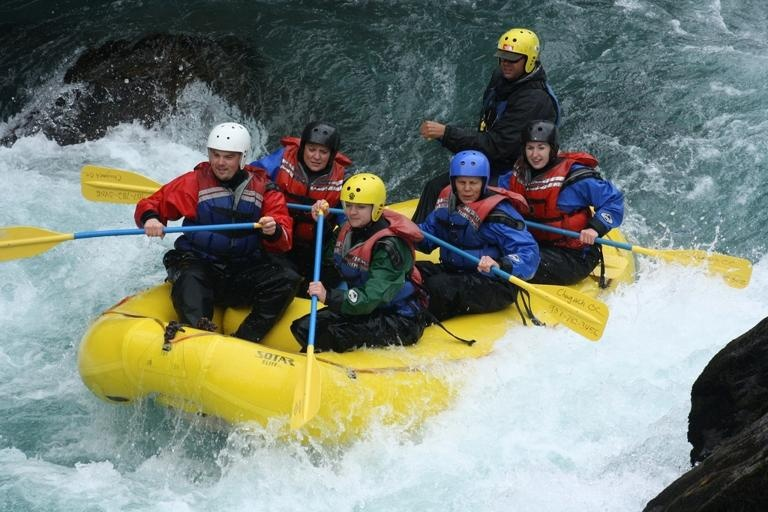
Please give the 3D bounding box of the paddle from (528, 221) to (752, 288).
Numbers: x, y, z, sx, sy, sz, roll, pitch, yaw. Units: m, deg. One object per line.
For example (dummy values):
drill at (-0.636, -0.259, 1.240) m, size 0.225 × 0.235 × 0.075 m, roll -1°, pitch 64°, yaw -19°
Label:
paddle at (2.635, 0.013, 8.536) m, size 1.996 × 0.336 × 0.071 m, roll 19°, pitch -1°, yaw 7°

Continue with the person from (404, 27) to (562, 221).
person at (1.065, -1.385, 9.130) m, size 1.558 × 2.417 × 1.099 m, roll -13°, pitch 48°, yaw -24°

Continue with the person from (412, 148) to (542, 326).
person at (0.737, -0.249, 8.032) m, size 1.652 × 1.504 × 1.108 m, roll 16°, pitch 24°, yaw 38°

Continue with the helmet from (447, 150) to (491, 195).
helmet at (0.807, -0.767, 7.932) m, size 0.408 × 0.467 × 0.478 m, roll 8°, pitch 19°, yaw 25°

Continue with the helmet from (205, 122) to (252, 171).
helmet at (-1.464, -1.037, 7.683) m, size 0.347 × 0.386 × 0.421 m, roll 7°, pitch 14°, yaw 16°

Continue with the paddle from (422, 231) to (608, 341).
paddle at (1.185, 0.309, 7.836) m, size 1.720 × 0.298 × 0.070 m, roll 32°, pitch 36°, yaw 15°

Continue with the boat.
boat at (-0.618, 0.941, 7.199) m, size 3.485 × 0.720 × 1.782 m, roll -14°, pitch 41°, yaw -28°

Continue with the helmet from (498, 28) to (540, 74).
helmet at (1.438, -2.224, 8.766) m, size 0.513 × 0.395 × 0.367 m, roll -23°, pitch 39°, yaw -38°

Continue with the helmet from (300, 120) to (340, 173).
helmet at (-0.642, -1.075, 8.176) m, size 0.385 × 0.480 × 0.502 m, roll 18°, pitch 3°, yaw 3°

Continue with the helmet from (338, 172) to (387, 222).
helmet at (-0.188, -0.545, 7.474) m, size 0.413 × 0.405 × 0.476 m, roll 5°, pitch 17°, yaw 8°

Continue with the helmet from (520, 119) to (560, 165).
helmet at (1.575, -1.150, 8.300) m, size 0.380 × 0.419 × 0.445 m, roll 3°, pitch 12°, yaw 6°
